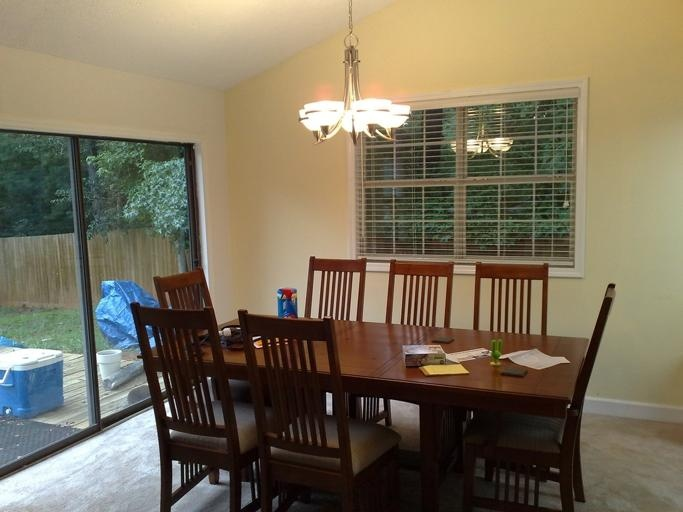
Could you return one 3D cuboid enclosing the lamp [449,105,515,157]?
[{"bbox_3d":[1.173,-1.017,4.374,0.375,0.339,0.366,-1,-3,6],"label":"lamp"}]
